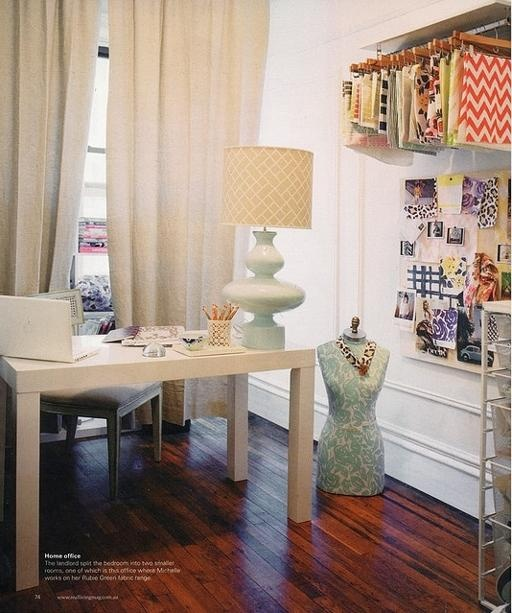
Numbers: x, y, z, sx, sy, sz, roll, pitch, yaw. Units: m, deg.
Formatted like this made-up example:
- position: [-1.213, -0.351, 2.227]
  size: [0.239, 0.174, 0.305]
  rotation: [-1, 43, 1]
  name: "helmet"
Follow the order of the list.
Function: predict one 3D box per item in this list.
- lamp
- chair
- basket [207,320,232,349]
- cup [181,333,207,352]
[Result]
- position: [0.035, -0.208, 1.910]
  size: [0.351, 0.722, 0.320]
  rotation: [1, 0, 6]
  name: "lamp"
- position: [-0.787, 0.391, 2.442]
  size: [0.656, 0.894, 0.685]
  rotation: [0, 2, -33]
  name: "chair"
- position: [-0.144, 0.108, 1.904]
  size: [0.091, 0.098, 0.094]
  rotation: [1, 1, -7]
  name: "basket"
- position: [-0.221, 0.132, 1.827]
  size: [0.067, 0.033, 0.069]
  rotation: [0, 6, 0]
  name: "cup"
